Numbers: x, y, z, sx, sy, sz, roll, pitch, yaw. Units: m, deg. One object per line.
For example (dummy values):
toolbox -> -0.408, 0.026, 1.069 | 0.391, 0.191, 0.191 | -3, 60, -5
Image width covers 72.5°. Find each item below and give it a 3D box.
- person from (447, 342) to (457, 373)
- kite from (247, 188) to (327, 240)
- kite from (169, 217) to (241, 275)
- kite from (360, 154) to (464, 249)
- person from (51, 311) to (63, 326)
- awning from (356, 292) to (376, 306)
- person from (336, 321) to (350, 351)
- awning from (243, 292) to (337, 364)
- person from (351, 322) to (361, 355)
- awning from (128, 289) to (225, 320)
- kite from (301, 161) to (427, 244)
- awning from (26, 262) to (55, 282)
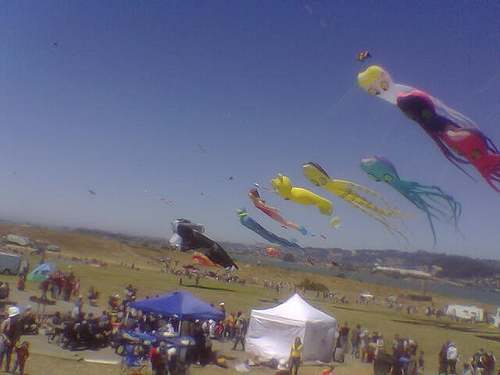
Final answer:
person -> 10.853, 9.301, 18.457 | 0.424, 1.537, 1.232 | 2, -11, 32
kite -> 1.504, 0.783, 13.849 | 3.626, 0.934, 1.076 | 36, 6, 2
kite -> -2.825, 3.444, 20.116 | 2.034, 2.611, 3.867 | 0, -12, 39
kite -> 4.323, -0.023, 9.844 | 2.574, 1.345, 0.844 | 36, -43, 15
person -> -8.786, 6.022, 15.658 | 0.469, 0.494, 0.731 | 13, -10, -28
awning -> 15.027, 14.300, 44.423 | 2.282, 1.105, 2.279 | 1, -7, 13
person -> 5.137, 8.381, 19.026 | 0.577, 1.558, 1.225 | 5, -10, 17
awning -> 2.342, 7.585, 18.696 | 5.162, 2.984, 4.983 | 8, -13, -8
person -> 5.862, 8.421, 19.100 | 0.438, 1.580, 1.053 | 5, -10, 18
awning -> -3.577, 5.919, 17.326 | 4.612, 1.190, 4.500 | -7, -15, 43
kite -> 3.884, 0.040, 11.754 | 4.290, 1.226, 1.080 | 27, -51, -13
awning -> -14.300, 5.889, 23.448 | 1.452, 1.330, 1.009 | 9, -9, -5
